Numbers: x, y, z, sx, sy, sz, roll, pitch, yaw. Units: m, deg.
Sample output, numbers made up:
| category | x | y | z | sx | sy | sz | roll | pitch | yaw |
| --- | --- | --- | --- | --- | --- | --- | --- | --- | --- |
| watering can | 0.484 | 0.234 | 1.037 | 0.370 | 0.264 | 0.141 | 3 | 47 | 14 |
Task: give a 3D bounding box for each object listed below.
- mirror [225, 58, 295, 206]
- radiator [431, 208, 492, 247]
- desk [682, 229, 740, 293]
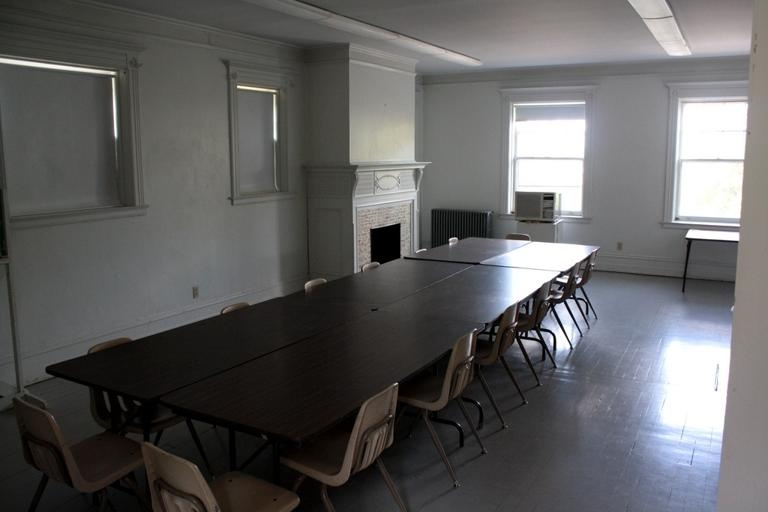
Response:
| category | x | y | z | sx | sy | sz | roll | pitch | yaw |
| --- | --- | --- | --- | --- | --- | --- | --- | --- | --- |
| mirror | -1.688 | -1.646 | 6.993 | 0.331 | 1.806 | 1.158 | 6 | 14 | 26 |
| radiator | 1.457 | -0.549 | 9.373 | 0.824 | 0.792 | 0.281 | 3 | 8 | 24 |
| desk | 5.151 | 0.020 | 8.170 | 0.678 | 0.840 | 0.982 | 7 | 14 | 31 |
